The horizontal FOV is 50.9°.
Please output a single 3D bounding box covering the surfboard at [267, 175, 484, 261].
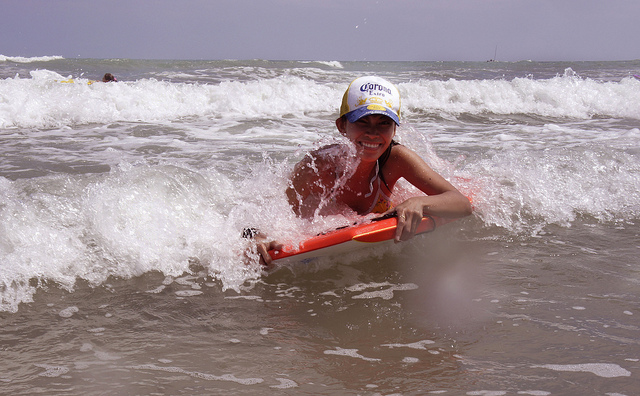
[{"bbox_3d":[0.924,0.221,6.972,2.806,0.642,0.862,-7,17,-37],"label":"surfboard"}]
